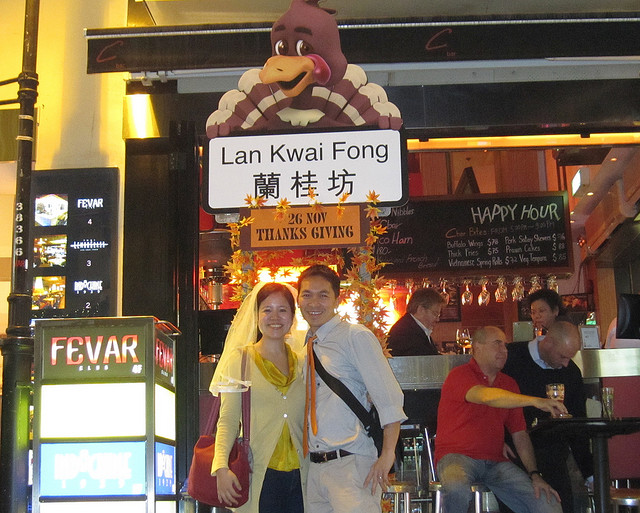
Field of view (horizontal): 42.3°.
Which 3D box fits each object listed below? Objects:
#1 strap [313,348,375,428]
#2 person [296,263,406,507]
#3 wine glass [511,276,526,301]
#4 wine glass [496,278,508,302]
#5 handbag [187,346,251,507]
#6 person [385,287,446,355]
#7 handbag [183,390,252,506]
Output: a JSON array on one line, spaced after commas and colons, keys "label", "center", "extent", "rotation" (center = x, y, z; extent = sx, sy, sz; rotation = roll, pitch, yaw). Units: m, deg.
[{"label": "strap", "center": [0.148, 0.715, 4.493], "extent": [0.079, 0.336, 0.243], "rotation": [-34, 7, -11]}, {"label": "person", "center": [0.164, 0.682, 4.558], "extent": [0.547, 1.330, 0.335], "rotation": [-1, -9, -3]}, {"label": "wine glass", "center": [2.164, 0.336, 9.048], "extent": [0.124, 0.281, 0.540], "rotation": [-4, -9, 13]}, {"label": "wine glass", "center": [1.990, 0.350, 9.094], "extent": [0.105, 0.256, 0.403], "rotation": [-3, -9, 12]}, {"label": "handbag", "center": [-0.544, 1.030, 4.517], "extent": [0.377, 0.632, 0.196], "rotation": [-9, -12, 40]}, {"label": "person", "center": [0.809, 0.627, 7.042], "extent": [0.498, 0.797, 0.515], "rotation": [2, -21, 5]}, {"label": "handbag", "center": [-0.633, 1.172, 4.935], "extent": [0.343, 0.728, 1.225], "rotation": [0, -9, -12]}]
